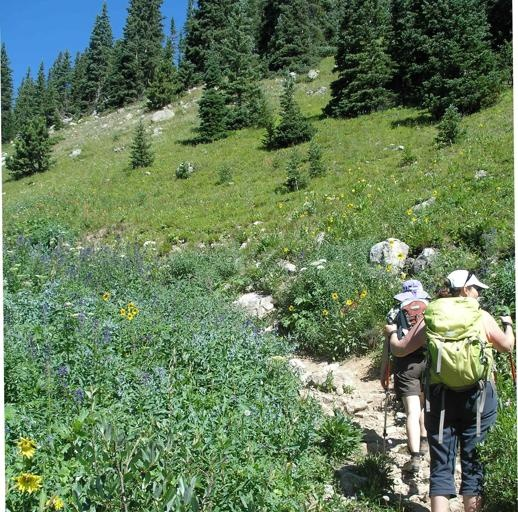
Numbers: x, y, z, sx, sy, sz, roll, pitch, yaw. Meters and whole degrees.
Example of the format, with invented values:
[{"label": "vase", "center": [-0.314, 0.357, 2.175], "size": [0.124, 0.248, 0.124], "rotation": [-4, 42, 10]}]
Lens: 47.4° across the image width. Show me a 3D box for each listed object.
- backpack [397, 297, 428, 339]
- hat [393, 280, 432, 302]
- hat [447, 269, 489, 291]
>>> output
[{"label": "backpack", "center": [1.863, 0.767, 7.288], "size": [0.255, 0.524, 0.429], "rotation": [10, -12, 2]}, {"label": "hat", "center": [1.910, 0.438, 7.410], "size": [0.266, 0.216, 0.307], "rotation": [2, -5, -35]}, {"label": "hat", "center": [2.201, 0.233, 6.297], "size": [0.291, 0.223, 0.227], "rotation": [-7, 6, -6]}]
